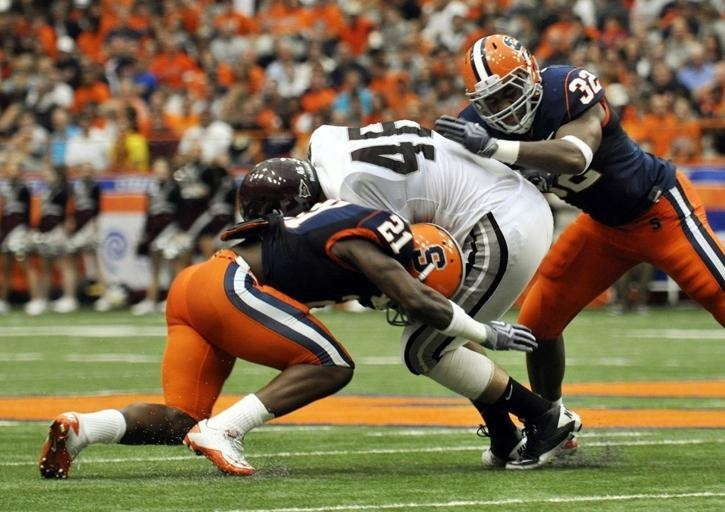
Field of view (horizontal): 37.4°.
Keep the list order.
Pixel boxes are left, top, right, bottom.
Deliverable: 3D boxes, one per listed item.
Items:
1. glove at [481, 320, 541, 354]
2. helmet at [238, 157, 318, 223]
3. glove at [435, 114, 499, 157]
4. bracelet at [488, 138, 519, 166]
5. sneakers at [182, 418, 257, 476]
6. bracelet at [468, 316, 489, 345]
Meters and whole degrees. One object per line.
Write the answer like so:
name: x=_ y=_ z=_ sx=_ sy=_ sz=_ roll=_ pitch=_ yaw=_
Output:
glove: x=0.761 y=0.424 z=5.569 sx=0.266 sy=0.084 sz=0.150 roll=8 pitch=33 yaw=-20
helmet: x=-0.467 y=-0.370 z=5.801 sx=0.498 sy=0.328 sz=0.341 roll=-10 pitch=13 yaw=-28
glove: x=0.543 y=-0.631 z=5.678 sx=0.341 sy=0.113 sz=0.183 roll=30 pitch=-1 yaw=30
bracelet: x=0.731 y=-0.551 z=5.645 sx=0.151 sy=0.100 sz=0.109 roll=-5 pitch=24 yaw=-4
sneakers: x=-0.726 y=0.978 z=5.467 sx=0.410 sy=0.206 sz=0.149 roll=33 pitch=-7 yaw=28
bracelet: x=0.591 y=0.374 z=5.451 sx=0.140 sy=0.070 sz=0.064 roll=39 pitch=-29 yaw=-14
